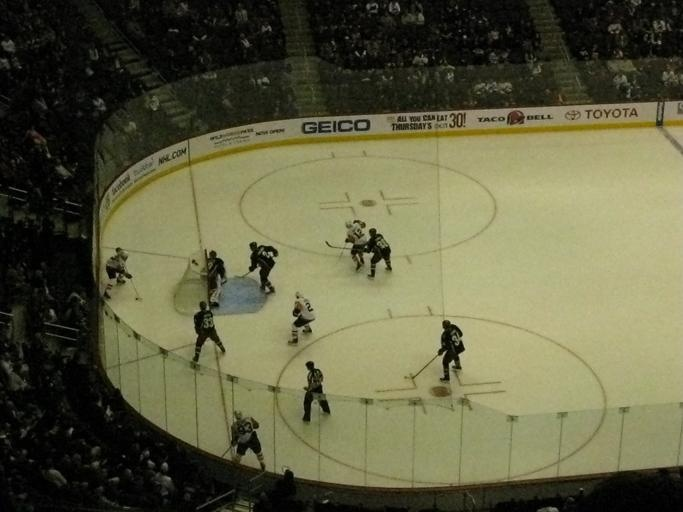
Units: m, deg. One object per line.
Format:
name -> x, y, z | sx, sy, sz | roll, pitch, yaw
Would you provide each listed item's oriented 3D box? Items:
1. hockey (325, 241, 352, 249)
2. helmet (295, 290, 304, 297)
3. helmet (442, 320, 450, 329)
hockey -> -0.076, -0.228, 20.583 | 0.553, 0.185, 0.432 | -6, 5, 3
helmet -> -0.760, 0.658, 17.551 | 0.141, 0.119, 0.103 | -7, -10, -45
helmet -> 1.722, 1.122, 16.595 | 0.148, 0.146, 0.160 | -1, 2, 7
